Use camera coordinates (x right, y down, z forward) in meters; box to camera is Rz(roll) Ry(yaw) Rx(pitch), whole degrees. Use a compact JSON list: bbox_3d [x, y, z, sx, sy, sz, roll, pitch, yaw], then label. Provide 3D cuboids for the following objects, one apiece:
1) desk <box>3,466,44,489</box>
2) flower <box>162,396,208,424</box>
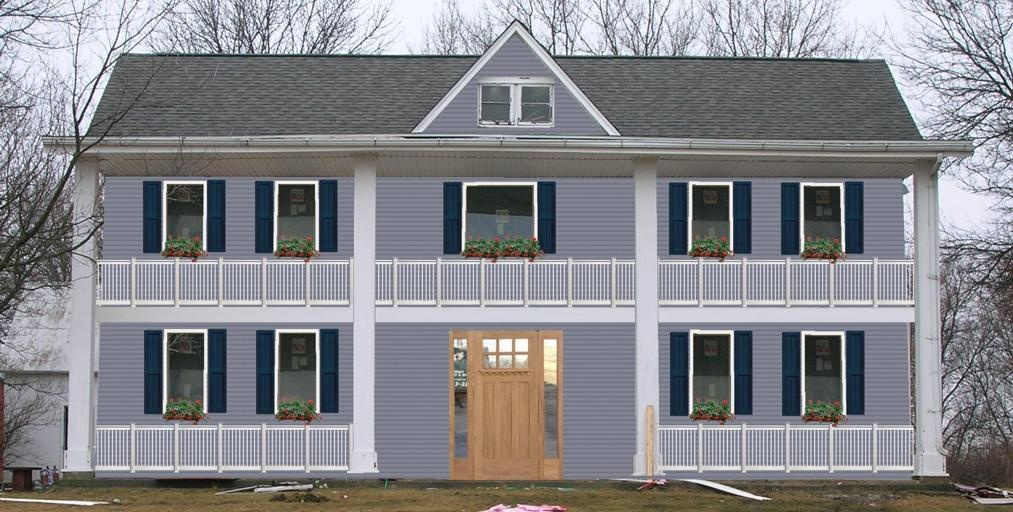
[{"bbox_3d":[-19.952,9.207,85.807,1.921,0.966,1.712,1,-7,-10],"label":"desk"},{"bbox_3d":[-13.181,6.297,85.343,1.352,1.145,0.512,2,-49,-4],"label":"flower"}]
